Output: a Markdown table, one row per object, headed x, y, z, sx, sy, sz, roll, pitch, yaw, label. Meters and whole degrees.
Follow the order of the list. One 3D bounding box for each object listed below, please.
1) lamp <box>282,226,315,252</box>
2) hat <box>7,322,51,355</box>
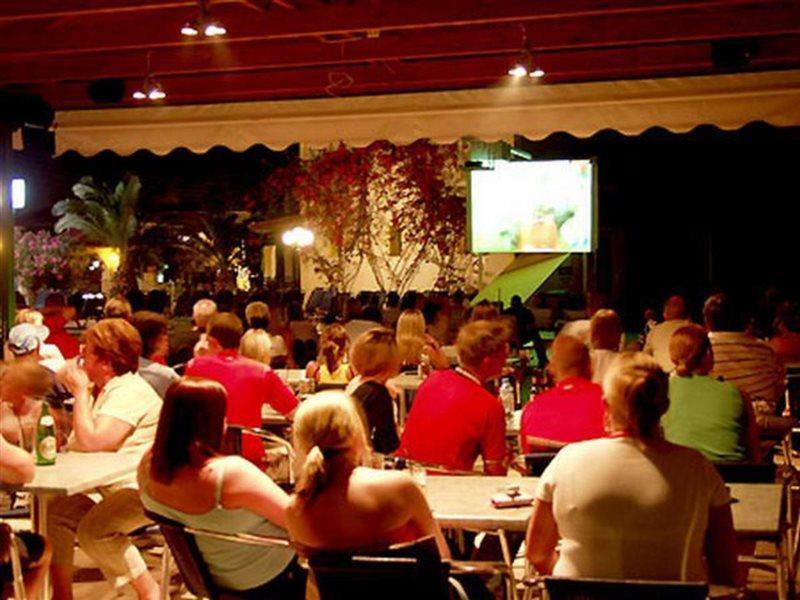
| x | y | z | sx | sy | sz | roll | pitch | yaw | label |
| --- | --- | --- | --- | --- | --- | --- | --- | --- | --- |
| -2.109 | -1.323 | 16.133 | 0.548 | 0.374 | 0.554 | -1 | 8 | -23 | lamp |
| -3.052 | 0.323 | 6.345 | 0.171 | 0.147 | 0.278 | 15 | 31 | 11 | hat |
